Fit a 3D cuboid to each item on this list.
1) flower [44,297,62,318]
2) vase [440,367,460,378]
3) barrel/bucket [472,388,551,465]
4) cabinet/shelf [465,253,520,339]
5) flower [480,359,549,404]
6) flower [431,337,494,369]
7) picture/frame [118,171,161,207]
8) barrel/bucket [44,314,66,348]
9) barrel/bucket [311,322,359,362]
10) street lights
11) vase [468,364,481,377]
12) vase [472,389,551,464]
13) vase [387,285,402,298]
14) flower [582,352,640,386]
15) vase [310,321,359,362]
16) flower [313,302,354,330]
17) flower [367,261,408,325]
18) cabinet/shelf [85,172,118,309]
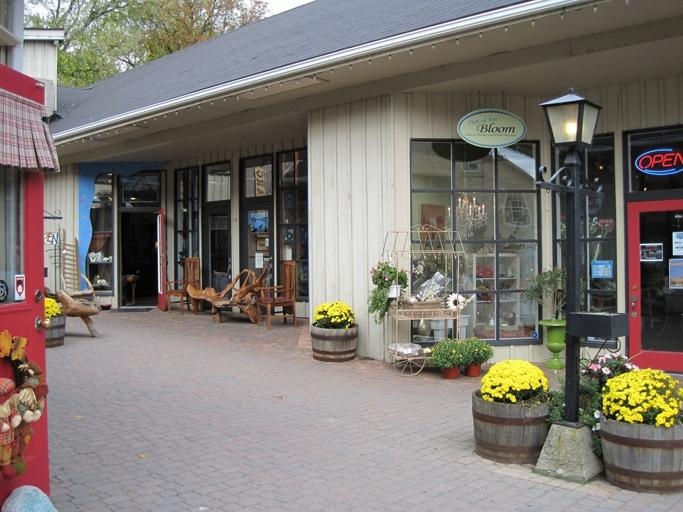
[{"bbox_3d":[-5.016,0.911,9.644,0.226,0.301,0.567,-2,4,-26],"label":"flower"},{"bbox_3d":[1.476,1.584,7.500,0.170,0.105,0.171,0,-6,0],"label":"vase"},{"bbox_3d":[1.488,1.492,4.920,0.567,0.420,0.572,3,0,0],"label":"barrel/bucket"},{"bbox_3d":[2.340,0.620,8.554,0.691,1.314,0.212,0,3,7],"label":"cabinet/shelf"},{"bbox_3d":[1.545,1.093,5.009,0.419,0.264,0.387,2,-6,-44],"label":"flower"},{"bbox_3d":[1.583,1.304,7.476,0.526,0.312,0.492,-2,1,-36],"label":"flower"},{"bbox_3d":[-5.581,-1.861,15.189,0.988,0.870,0.141,0,-3,-10],"label":"picture/frame"},{"bbox_3d":[-4.991,1.301,9.641,0.150,0.548,0.428,0,3,7],"label":"barrel/bucket"},{"bbox_3d":[-0.150,1.299,8.523,0.569,0.352,0.566,1,-4,0],"label":"barrel/bucket"},{"bbox_3d":[1.997,0.178,4.906,0.548,3.309,0.875,1,3,22],"label":"street lights"},{"bbox_3d":[1.811,1.578,7.638,0.174,0.123,0.175,0,-3,-4],"label":"vase"},{"bbox_3d":[1.507,1.514,5.018,0.568,0.421,0.571,3,-1,17],"label":"vase"},{"bbox_3d":[0.744,0.526,7.995,0.165,0.155,0.192,10,-11,-38],"label":"vase"},{"bbox_3d":[2.494,1.028,5.202,0.360,0.255,0.361,-6,7,-27],"label":"flower"},{"bbox_3d":[-0.127,1.298,8.512,0.570,0.354,0.566,-1,-4,33],"label":"vase"},{"bbox_3d":[-0.125,0.926,8.620,0.457,0.318,0.440,1,3,-8],"label":"flower"},{"bbox_3d":[0.718,0.538,8.436,0.748,0.952,0.818,2,3,29],"label":"flower"},{"bbox_3d":[-6.506,-0.469,14.980,0.767,3.515,0.350,-1,3,-14],"label":"cabinet/shelf"}]
